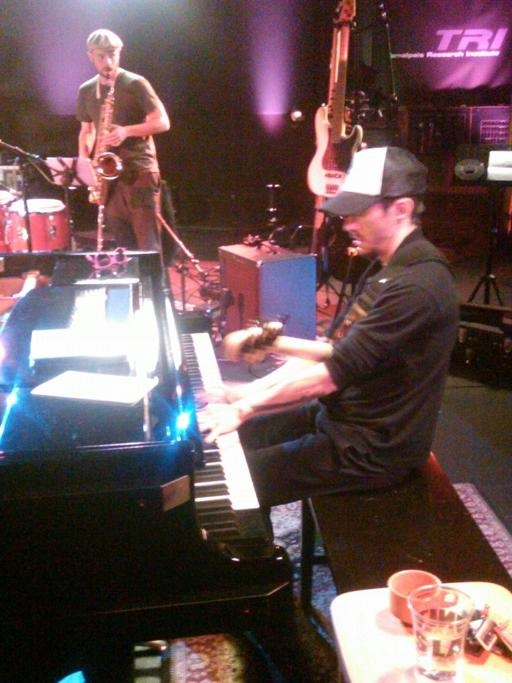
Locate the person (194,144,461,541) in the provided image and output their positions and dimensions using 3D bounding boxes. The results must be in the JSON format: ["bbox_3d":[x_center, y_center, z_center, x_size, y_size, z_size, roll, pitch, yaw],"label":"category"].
[{"bbox_3d":[0.200,0.121,2.050,0.950,1.501,0.750,0,15,8],"label":"person"}]

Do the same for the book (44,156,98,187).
[{"bbox_3d":[-1.499,-1.395,4.631,0.436,0.263,0.045,7,42,15],"label":"book"}]

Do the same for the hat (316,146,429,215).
[{"bbox_3d":[0.374,-0.532,1.864,0.335,0.160,0.202,-6,20,-8],"label":"hat"}]

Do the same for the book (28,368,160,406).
[{"bbox_3d":[-0.337,0.097,1.185,0.164,0.017,0.109,5,17,14],"label":"book"}]

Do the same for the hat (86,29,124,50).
[{"bbox_3d":[-1.049,-2.098,3.923,0.207,0.178,0.217,-3,13,-5],"label":"hat"}]

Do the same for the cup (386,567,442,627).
[{"bbox_3d":[0.295,0.454,1.054,0.087,0.065,0.094,-2,17,0],"label":"cup"}]
